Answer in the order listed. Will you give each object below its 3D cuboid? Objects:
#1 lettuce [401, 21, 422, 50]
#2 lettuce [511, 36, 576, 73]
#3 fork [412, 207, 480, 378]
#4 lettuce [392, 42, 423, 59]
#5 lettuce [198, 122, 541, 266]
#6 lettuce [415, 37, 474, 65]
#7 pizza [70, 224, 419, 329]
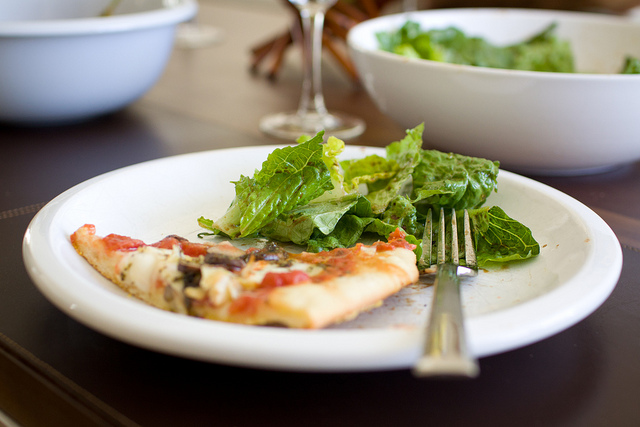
[{"bbox_3d":[0.206,-0.406,1.124,0.053,0.069,0.019,-3,-12,-10],"label":"lettuce"},{"bbox_3d":[0.525,-0.382,1.205,0.150,0.048,0.156,1,4,0],"label":"lettuce"},{"bbox_3d":[0.138,0.071,0.558,0.060,0.043,0.383,0,19,15],"label":"fork"},{"bbox_3d":[0.177,-0.339,1.052,0.056,0.016,0.057,34,14,19],"label":"lettuce"},{"bbox_3d":[0.074,-0.075,0.714,0.282,0.070,0.283,22,27,34],"label":"lettuce"},{"bbox_3d":[0.264,-0.351,1.095,0.117,0.028,0.112,17,16,-21],"label":"lettuce"},{"bbox_3d":[-0.072,0.064,0.511,0.216,0.031,0.161,10,13,13],"label":"pizza"}]
